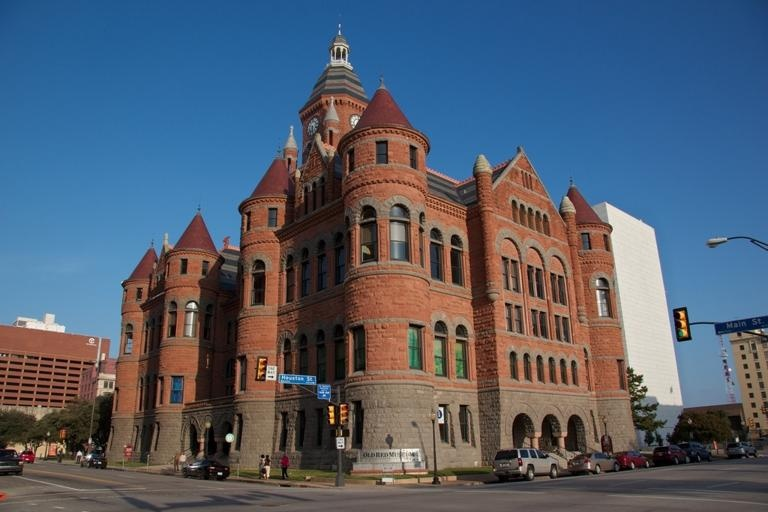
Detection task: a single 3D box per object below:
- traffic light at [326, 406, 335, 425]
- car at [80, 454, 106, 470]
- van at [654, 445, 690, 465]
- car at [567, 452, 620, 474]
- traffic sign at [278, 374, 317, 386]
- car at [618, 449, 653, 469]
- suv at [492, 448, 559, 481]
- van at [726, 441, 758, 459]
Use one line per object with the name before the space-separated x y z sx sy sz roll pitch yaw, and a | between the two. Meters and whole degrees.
traffic light | -3.385 10.346 39.073 0.429 1.230 0.566 3 -23 -12
car | -30.620 21.790 63.321 1.767 1.351 3.134 14 -33 -30
van | 25.932 18.003 53.935 3.588 1.187 1.589 10 -16 -40
car | 16.223 15.942 46.056 4.027 1.242 1.661 6 -14 -30
traffic sign | -5.981 8.353 40.793 2.724 0.639 0.700 17 -29 -38
car | 20.421 16.861 49.466 3.681 1.132 1.661 5 -12 -31
suv | 10.206 14.454 41.823 4.653 1.591 2.257 9 -18 -36
van | 38.547 20.727 64.190 4.584 1.535 2.071 7 -12 -39
